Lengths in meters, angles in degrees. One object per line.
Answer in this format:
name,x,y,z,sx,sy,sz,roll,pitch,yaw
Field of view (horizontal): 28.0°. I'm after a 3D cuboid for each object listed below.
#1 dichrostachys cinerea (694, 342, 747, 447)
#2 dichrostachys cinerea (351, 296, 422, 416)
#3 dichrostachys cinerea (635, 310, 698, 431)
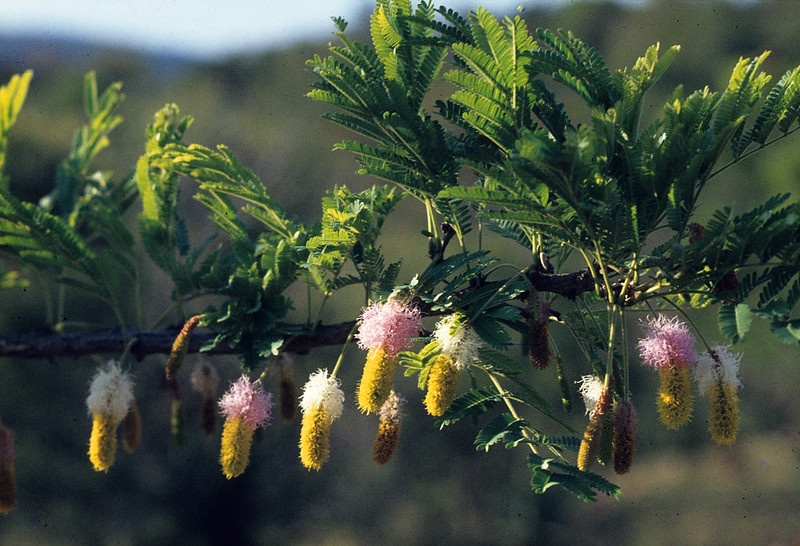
dichrostachys cinerea,2.031,0.816,10.187,0.325,0.676,0.405,1,17,-7
dichrostachys cinerea,-0.105,0.536,10.183,0.444,0.441,0.860,-5,33,19
dichrostachys cinerea,1.686,0.622,10.188,0.379,0.651,0.410,5,17,4
